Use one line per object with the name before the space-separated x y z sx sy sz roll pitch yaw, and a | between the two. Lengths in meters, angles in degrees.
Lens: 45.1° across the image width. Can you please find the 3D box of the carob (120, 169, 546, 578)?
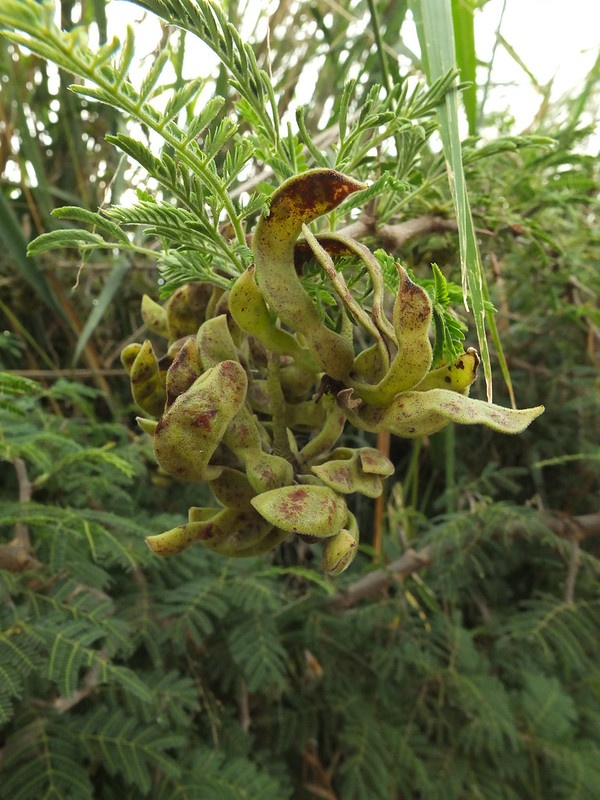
carob | -0.001 -0.013 0.870 0.455 0.438 0.247 -9 14 5
